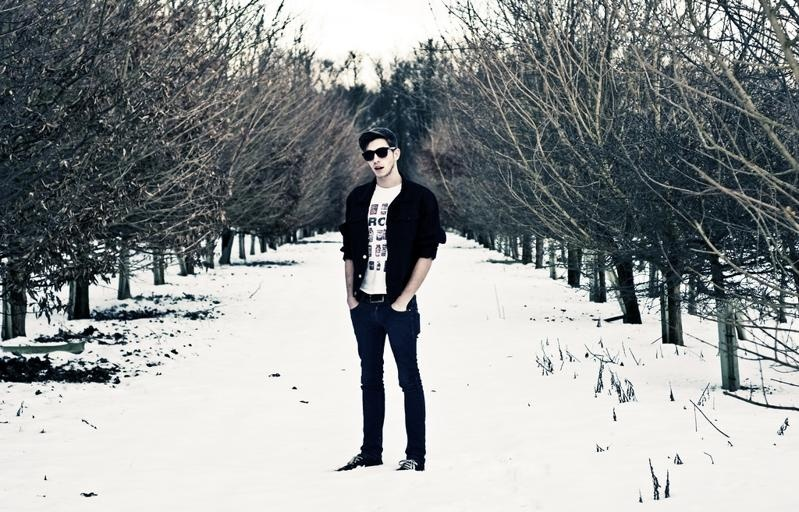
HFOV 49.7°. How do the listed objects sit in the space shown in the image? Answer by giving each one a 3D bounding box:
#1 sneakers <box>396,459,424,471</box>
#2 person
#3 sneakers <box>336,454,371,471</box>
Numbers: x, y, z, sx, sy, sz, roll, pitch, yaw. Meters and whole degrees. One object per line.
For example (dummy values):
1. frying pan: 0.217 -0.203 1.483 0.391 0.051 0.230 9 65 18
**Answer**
1. sneakers: 0.127 2.478 10.321 0.307 0.153 0.132 7 -8 1
2. person: -0.115 0.531 10.360 1.191 4.072 0.684 1 7 7
3. sneakers: -0.598 2.479 10.424 0.471 0.231 0.172 6 -13 -13
